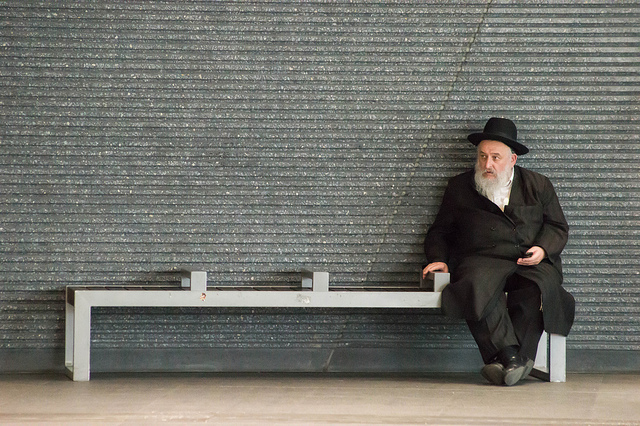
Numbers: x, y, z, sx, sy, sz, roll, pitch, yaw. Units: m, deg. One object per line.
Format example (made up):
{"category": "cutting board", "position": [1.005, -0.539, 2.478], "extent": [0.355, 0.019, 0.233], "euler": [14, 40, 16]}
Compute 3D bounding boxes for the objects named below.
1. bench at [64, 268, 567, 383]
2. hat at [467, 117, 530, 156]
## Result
{"category": "bench", "position": [-0.032, 0.867, 10.831], "extent": [4.336, 0.928, 0.818], "euler": [1, 4, -6]}
{"category": "hat", "position": [1.573, -0.691, 10.789], "extent": [0.514, 0.311, 0.319], "euler": [-1, -9, 6]}
